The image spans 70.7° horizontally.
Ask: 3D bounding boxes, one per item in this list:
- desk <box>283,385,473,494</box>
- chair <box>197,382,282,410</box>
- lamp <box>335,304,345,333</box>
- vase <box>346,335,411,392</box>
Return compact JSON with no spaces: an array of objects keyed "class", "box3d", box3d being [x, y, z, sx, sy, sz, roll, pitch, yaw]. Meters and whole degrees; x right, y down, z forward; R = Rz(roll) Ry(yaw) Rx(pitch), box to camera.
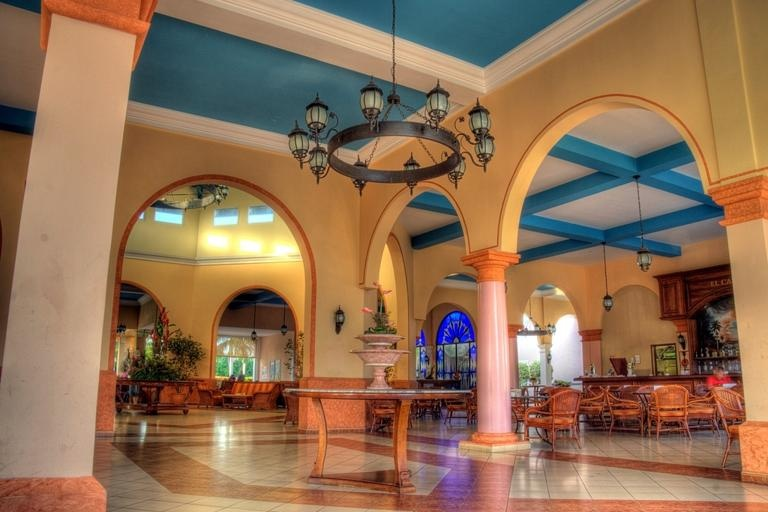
[{"class":"desk","box3d":[-0.016,2.237,6.866,1.792,1.124,1.914,-1,-13,3]},{"class":"chair","box3d":[-5.138,4.896,19.128,3.408,0.940,1.423,-10,-17,37]},{"class":"lamp","box3d":[-0.943,1.349,11.652,0.248,0.602,0.180,2,-14,-7]},{"class":"vase","box3d":[-0.055,1.419,7.236,0.783,0.675,0.805,6,-15,-17]}]
